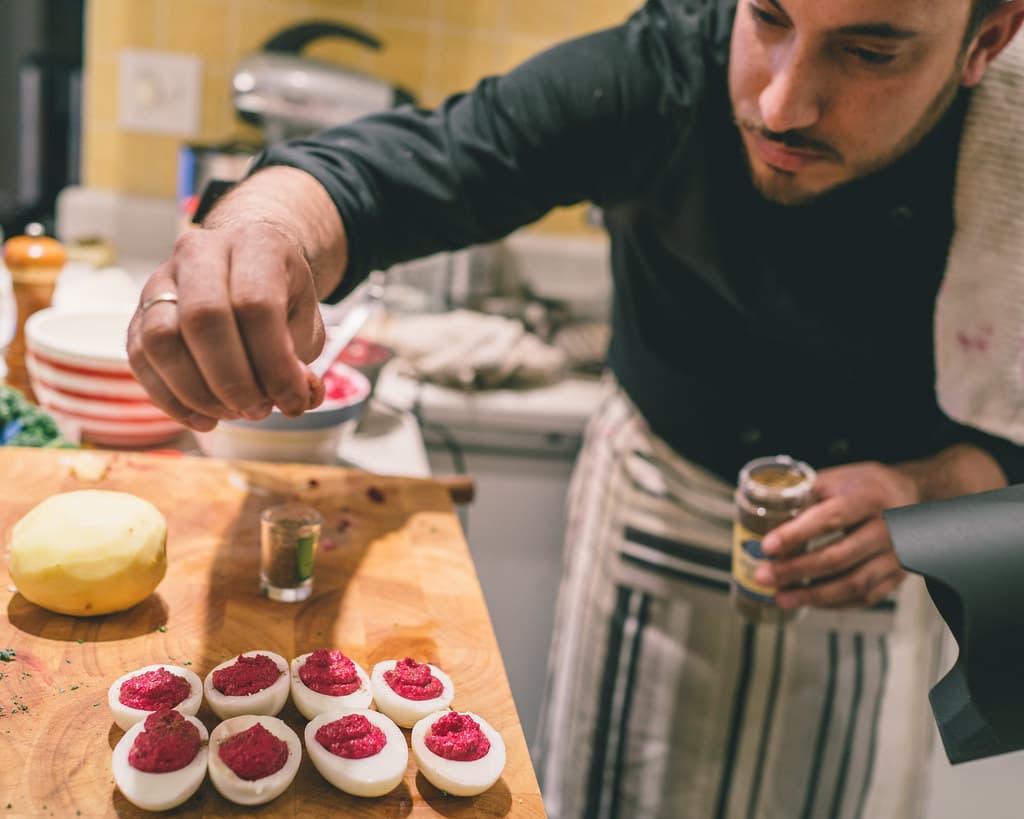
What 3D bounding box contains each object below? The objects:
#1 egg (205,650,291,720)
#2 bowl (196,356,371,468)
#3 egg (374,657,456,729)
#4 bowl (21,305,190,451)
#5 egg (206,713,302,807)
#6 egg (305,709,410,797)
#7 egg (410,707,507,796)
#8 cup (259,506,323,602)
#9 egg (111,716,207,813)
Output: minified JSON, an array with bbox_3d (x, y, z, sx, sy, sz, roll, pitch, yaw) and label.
[{"bbox_3d":[-0.311,0.328,1.193,0.074,0.052,0.081,1,16,9],"label":"egg"},{"bbox_3d":[-0.338,-0.012,1.610,0.186,0.083,0.180,1,12,0],"label":"bowl"},{"bbox_3d":[-0.126,0.361,1.266,0.117,0.071,0.109,0,5,-13],"label":"egg"},{"bbox_3d":[-0.669,-0.036,1.619,0.252,0.160,0.255,5,17,-2],"label":"bowl"},{"bbox_3d":[-0.284,0.385,1.128,0.099,0.051,0.104,-3,26,-17],"label":"egg"},{"bbox_3d":[-0.176,0.390,1.157,0.109,0.056,0.110,-4,26,-19],"label":"egg"},{"bbox_3d":[-0.063,0.391,1.173,0.087,0.054,0.083,22,27,24],"label":"egg"},{"bbox_3d":[-0.300,0.200,1.370,0.085,0.112,0.082,5,2,0],"label":"cup"},{"bbox_3d":[-0.377,0.379,1.098,0.097,0.060,0.100,-4,26,-18],"label":"egg"}]
